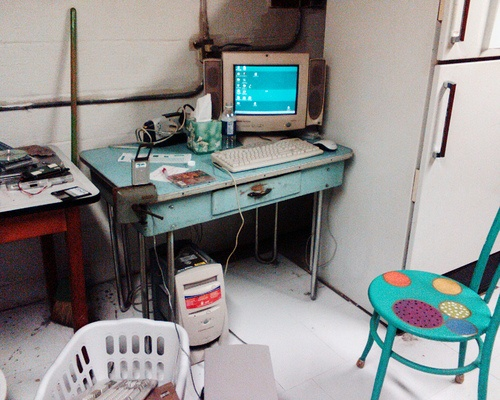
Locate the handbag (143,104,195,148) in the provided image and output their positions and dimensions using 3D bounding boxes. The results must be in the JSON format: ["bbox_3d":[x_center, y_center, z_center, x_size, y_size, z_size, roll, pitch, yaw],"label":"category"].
[{"bbox_3d":[-0.476,-0.422,2.560,0.369,0.172,0.111,-34,39,-17],"label":"handbag"}]

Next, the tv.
[{"bbox_3d":[0.040,-0.564,2.759,0.626,0.602,0.375,-2,26,-6],"label":"tv"}]

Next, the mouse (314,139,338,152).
[{"bbox_3d":[0.435,-0.318,2.494,0.068,0.038,0.111,-18,36,-38],"label":"mouse"}]

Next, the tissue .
[{"bbox_3d":[-0.250,-0.406,2.431,0.177,0.364,0.190,-17,36,-30],"label":"tissue "}]

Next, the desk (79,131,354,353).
[{"bbox_3d":[-0.216,0.394,2.677,1.562,1.175,0.999,-17,33,-32],"label":"desk"}]
